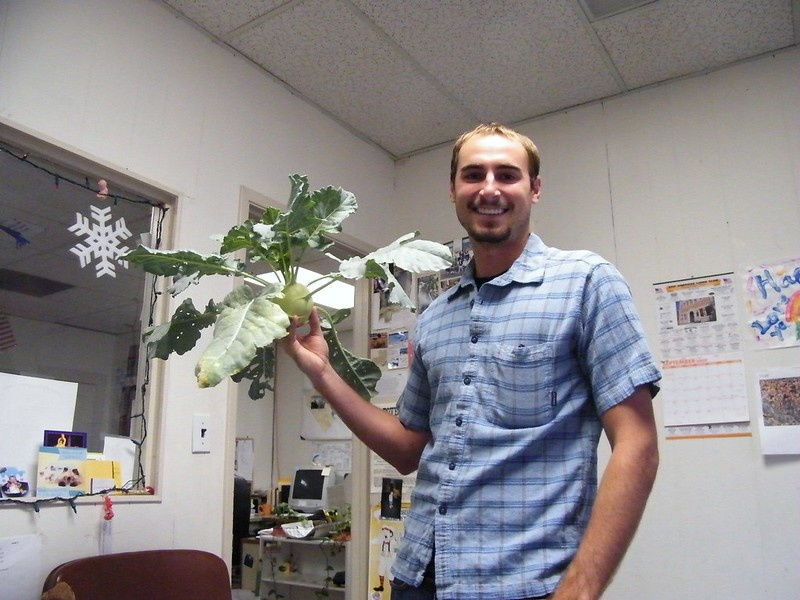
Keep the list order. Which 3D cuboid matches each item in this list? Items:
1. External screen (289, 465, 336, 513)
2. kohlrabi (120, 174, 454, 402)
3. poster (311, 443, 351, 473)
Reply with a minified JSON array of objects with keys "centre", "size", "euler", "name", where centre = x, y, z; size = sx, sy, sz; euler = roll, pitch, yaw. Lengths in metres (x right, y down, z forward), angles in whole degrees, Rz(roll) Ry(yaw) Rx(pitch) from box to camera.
[{"centre":[-0.807,1.781,5.080],"size":[0.377,0.305,0.206],"euler":[-13,-40,23],"name":"External screen"},{"centre":[-0.254,-0.024,1.426],"size":[0.667,0.368,0.700],"euler":[0,-16,23],"name":"kohlrabi"},{"centre":[-0.781,1.851,6.374],"size":[0.499,0.335,0.071],"euler":[1,-13,30],"name":"poster"}]
